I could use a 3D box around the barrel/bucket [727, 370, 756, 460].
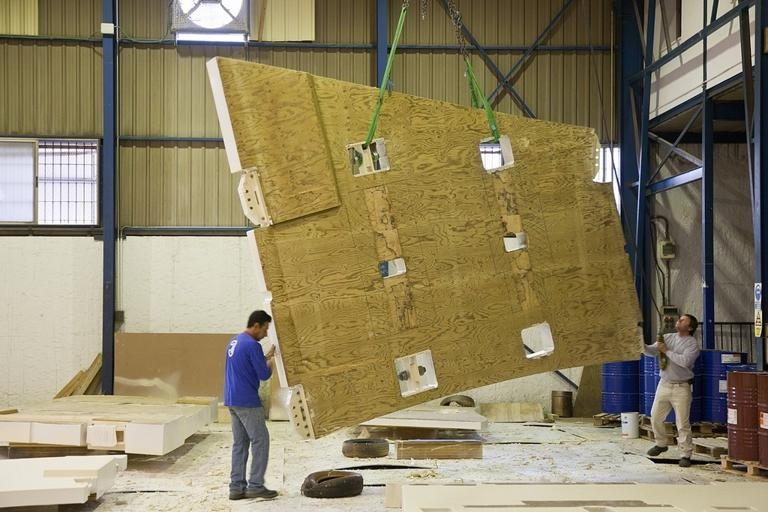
[{"bbox_3d":[6.375,2.890,15.135,0.516,1.634,0.258,1,2,25],"label":"barrel/bucket"}]

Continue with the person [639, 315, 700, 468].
[{"bbox_3d":[5.329,2.514,15.621,0.807,2.829,0.604,0,2,18],"label":"person"}]

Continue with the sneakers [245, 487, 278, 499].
[{"bbox_3d":[-2.016,3.923,13.893,0.557,0.202,0.189,-2,1,-13],"label":"sneakers"}]

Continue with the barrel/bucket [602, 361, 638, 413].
[{"bbox_3d":[5.295,2.989,19.038,0.805,1.250,0.358,0,2,15],"label":"barrel/bucket"}]

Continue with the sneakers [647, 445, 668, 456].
[{"bbox_3d":[5.110,3.736,15.992,0.400,0.169,0.159,-11,-41,15],"label":"sneakers"}]

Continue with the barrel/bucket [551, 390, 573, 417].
[{"bbox_3d":[4.346,3.590,20.421,0.629,0.602,0.599,1,-5,0],"label":"barrel/bucket"}]

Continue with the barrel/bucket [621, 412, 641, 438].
[{"bbox_3d":[5.238,3.600,17.853,0.523,0.520,0.495,0,-1,0],"label":"barrel/bucket"}]

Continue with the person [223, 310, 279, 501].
[{"bbox_3d":[-2.167,2.476,13.711,0.816,3.157,0.561,-1,2,-9],"label":"person"}]
